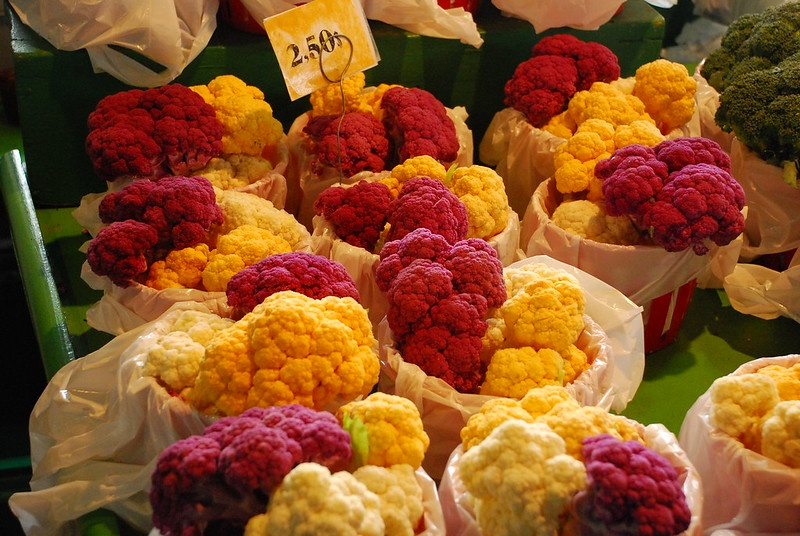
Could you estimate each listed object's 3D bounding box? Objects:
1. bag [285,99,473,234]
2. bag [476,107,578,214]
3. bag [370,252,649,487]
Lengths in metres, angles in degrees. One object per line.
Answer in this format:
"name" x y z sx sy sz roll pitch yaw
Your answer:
"bag" -0.309 -0.493 3.740 0.815 0.611 0.837 -3 37 -2
"bag" 0.758 -0.694 3.848 0.557 0.555 0.572 4 35 4
"bag" 0.569 0.409 2.601 1.008 0.482 0.966 -22 43 -25
